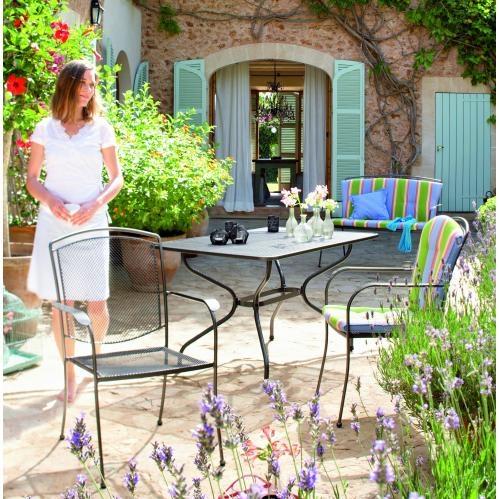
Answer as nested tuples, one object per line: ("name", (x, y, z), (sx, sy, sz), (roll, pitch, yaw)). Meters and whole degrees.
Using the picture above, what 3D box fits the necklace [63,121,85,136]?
("necklace", (-0.829, -0.569, 2.443), (0.072, 0.073, 0.022), (0, -9, -8))

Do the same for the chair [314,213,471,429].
("chair", (0.683, 0.309, 2.453), (0.606, 0.913, 0.535), (0, 4, 3))

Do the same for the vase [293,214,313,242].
("vase", (0.372, -0.142, 3.372), (0.151, 0.224, 0.161), (3, 4, 9))

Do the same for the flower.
("flower", (0.425, -0.229, 3.578), (0.433, 0.570, 0.515), (-1, 4, 1))

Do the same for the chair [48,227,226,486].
("chair", (-0.516, 0.419, 2.275), (0.722, 1.009, 0.717), (2, 3, 31))

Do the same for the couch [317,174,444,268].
("couch", (1.882, -0.496, 7.219), (1.454, 0.950, 0.750), (6, 17, 35))

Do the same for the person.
("person", (-0.813, -0.082, 2.482), (0.447, 1.590, 0.380), (-7, 9, -36))
